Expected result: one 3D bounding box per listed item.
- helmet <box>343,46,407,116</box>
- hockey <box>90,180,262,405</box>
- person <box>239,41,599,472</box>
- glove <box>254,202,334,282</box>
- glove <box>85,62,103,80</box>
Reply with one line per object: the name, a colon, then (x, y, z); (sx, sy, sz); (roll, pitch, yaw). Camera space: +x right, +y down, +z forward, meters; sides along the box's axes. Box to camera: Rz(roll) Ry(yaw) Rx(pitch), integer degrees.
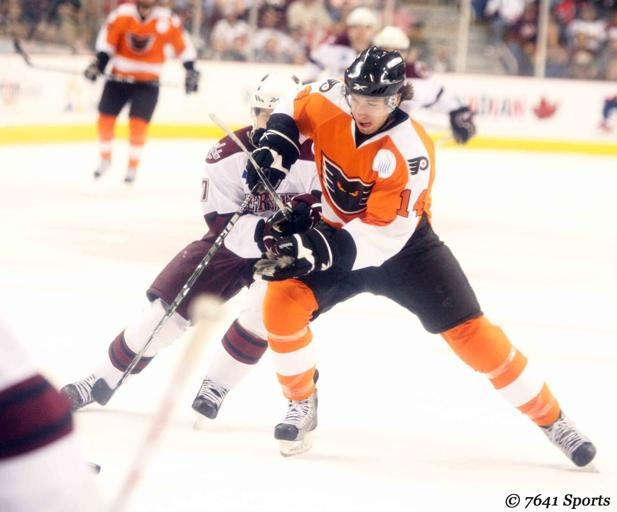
helmet: (0.207, -0.560, 2.140); (0.176, 0.180, 0.231); (10, 19, 16)
hockey: (-0.611, 0.168, 3.073); (0.222, 1.479, 0.122); (37, 9, -26)
person: (0.321, -0.001, 2.386); (1.072, 1.379, 0.558); (1, 20, -9)
glove: (-0.039, -0.021, 2.149); (0.118, 0.275, 0.198); (26, 38, -39)
glove: (-2.032, -1.752, 6.534); (0.148, 0.169, 0.068); (-4, 4, 4)
